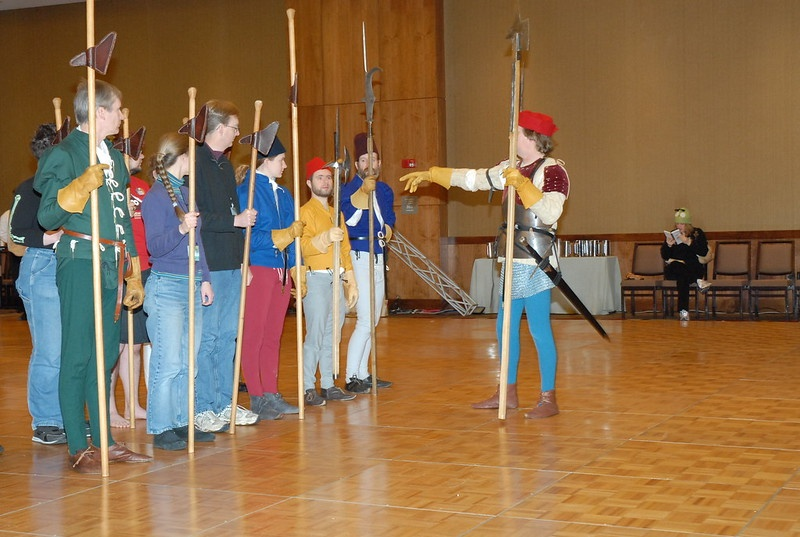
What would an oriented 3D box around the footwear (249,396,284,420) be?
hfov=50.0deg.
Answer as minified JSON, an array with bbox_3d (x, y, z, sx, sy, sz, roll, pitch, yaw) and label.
[{"bbox_3d":[-1.049,1.098,6.628,0.306,0.216,0.121,-2,-1,12],"label":"footwear"}]

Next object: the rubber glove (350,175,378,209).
[{"bbox_3d":[-0.348,-0.652,7.433,0.266,0.237,0.218,1,-1,-16],"label":"rubber glove"}]

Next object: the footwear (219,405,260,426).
[{"bbox_3d":[-1.201,1.120,6.464,0.335,0.138,0.126,1,3,3],"label":"footwear"}]

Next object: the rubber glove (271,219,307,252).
[{"bbox_3d":[-0.827,-0.252,6.389,0.221,0.192,0.088,-29,-20,18],"label":"rubber glove"}]

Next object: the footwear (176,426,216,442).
[{"bbox_3d":[-1.432,1.177,6.109,0.308,0.136,0.107,0,2,3],"label":"footwear"}]

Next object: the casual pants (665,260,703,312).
[{"bbox_3d":[4.159,0.252,12.621,0.513,0.691,0.600,1,5,19],"label":"casual pants"}]

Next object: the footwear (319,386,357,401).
[{"bbox_3d":[-0.521,1.074,7.267,0.310,0.130,0.112,0,-2,2],"label":"footwear"}]

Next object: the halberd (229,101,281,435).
[{"bbox_3d":[-1.188,-0.080,6.495,0.553,2.173,0.667,0,0,31],"label":"halberd"}]

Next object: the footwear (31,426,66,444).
[{"bbox_3d":[-2.486,1.188,6.100,0.291,0.122,0.118,-2,-2,27],"label":"footwear"}]

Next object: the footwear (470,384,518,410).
[{"bbox_3d":[0.767,1.032,6.796,0.455,0.244,0.157,1,0,26],"label":"footwear"}]

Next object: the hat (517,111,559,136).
[{"bbox_3d":[1.041,-1.092,6.493,0.255,0.103,0.184,23,14,-6],"label":"hat"}]

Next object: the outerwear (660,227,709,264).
[{"bbox_3d":[4.321,-0.356,12.953,0.542,0.634,0.773,8,-9,-33],"label":"outerwear"}]

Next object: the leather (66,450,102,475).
[{"bbox_3d":[-2.006,1.250,5.484,0.236,0.106,0.117,-1,2,28],"label":"leather"}]

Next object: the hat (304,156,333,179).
[{"bbox_3d":[-0.674,-0.885,7.263,0.187,0.186,0.280,-2,-9,-9],"label":"hat"}]

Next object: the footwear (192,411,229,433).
[{"bbox_3d":[-1.383,1.131,6.254,0.204,0.075,0.127,1,0,43],"label":"footwear"}]

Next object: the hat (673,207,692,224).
[{"bbox_3d":[4.300,-0.815,13.154,0.281,0.282,0.374,-2,-7,29],"label":"hat"}]

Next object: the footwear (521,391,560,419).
[{"bbox_3d":[1.098,1.053,6.600,0.311,0.218,0.132,-2,1,-18],"label":"footwear"}]

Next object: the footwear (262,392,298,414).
[{"bbox_3d":[-0.936,1.080,6.730,0.339,0.141,0.121,13,0,-1],"label":"footwear"}]

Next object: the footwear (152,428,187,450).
[{"bbox_3d":[-1.596,1.193,5.949,0.215,0.090,0.125,-1,4,25],"label":"footwear"}]

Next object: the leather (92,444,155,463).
[{"bbox_3d":[-1.812,1.240,5.638,0.362,0.137,0.123,1,-2,-5],"label":"leather"}]
